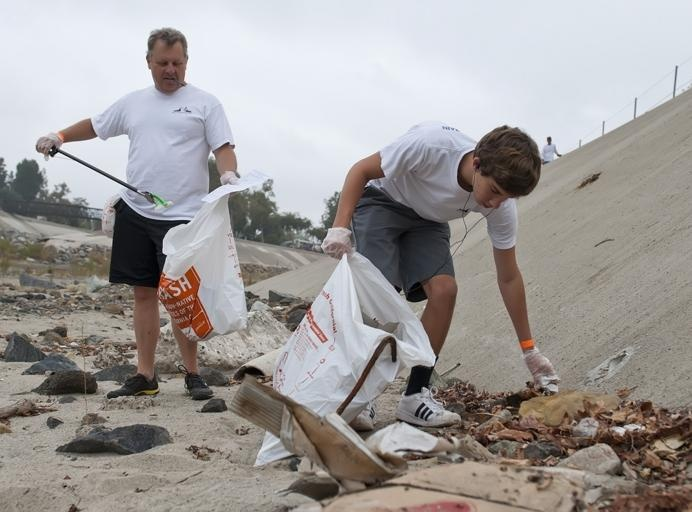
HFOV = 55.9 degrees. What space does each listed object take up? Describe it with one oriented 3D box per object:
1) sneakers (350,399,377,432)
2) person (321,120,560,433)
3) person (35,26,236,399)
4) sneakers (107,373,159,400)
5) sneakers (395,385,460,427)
[{"bbox_3d":[0.109,0.917,3.663,0.078,0.139,0.236,-1,6,28],"label":"sneakers"},{"bbox_3d":[0.615,0.115,3.759,1.344,1.717,0.968,8,3,26],"label":"person"},{"bbox_3d":[-1.271,-0.265,4.354,1.108,2.411,0.657,-4,5,-10],"label":"person"},{"bbox_3d":[-1.385,0.873,4.298,0.326,0.133,0.119,7,-12,-43],"label":"sneakers"},{"bbox_3d":[0.451,0.856,3.750,0.410,0.202,0.155,3,-4,32],"label":"sneakers"}]
